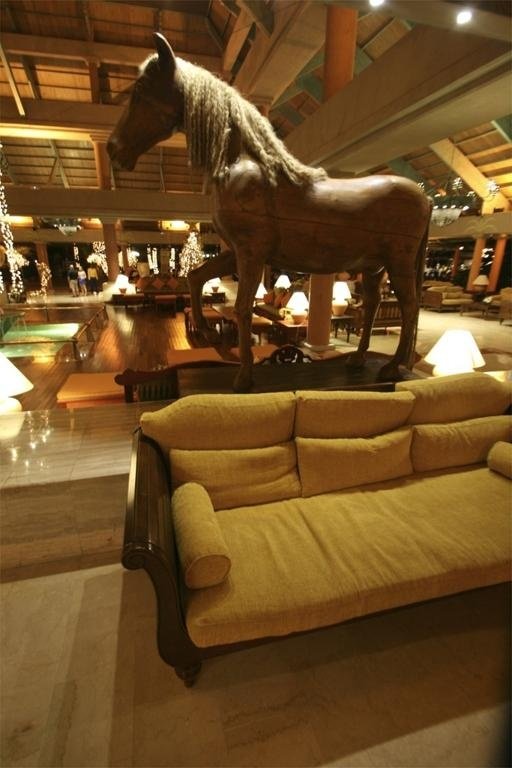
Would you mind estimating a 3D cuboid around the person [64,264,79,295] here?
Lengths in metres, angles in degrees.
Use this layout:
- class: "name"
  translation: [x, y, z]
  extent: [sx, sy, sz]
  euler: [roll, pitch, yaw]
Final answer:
- class: "person"
  translation: [-5.113, -2.915, 14.281]
  extent: [0.265, 0.787, 1.278]
  euler: [-6, 21, -18]

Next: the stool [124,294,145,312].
- class: "stool"
  translation: [-2.905, -1.969, 12.283]
  extent: [0.420, 0.310, 0.432]
  euler: [0, 32, 1]

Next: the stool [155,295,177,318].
- class: "stool"
  translation: [-2.112, -1.888, 11.964]
  extent: [0.580, 0.503, 0.593]
  euler: [-4, 35, -11]

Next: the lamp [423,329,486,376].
- class: "lamp"
  translation: [1.225, -0.210, 3.100]
  extent: [0.292, 0.274, 0.295]
  euler: [-12, 21, -22]

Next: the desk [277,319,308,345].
- class: "desk"
  translation: [0.470, -0.608, 6.776]
  extent: [0.312, 0.277, 0.556]
  euler: [0, 16, -3]
